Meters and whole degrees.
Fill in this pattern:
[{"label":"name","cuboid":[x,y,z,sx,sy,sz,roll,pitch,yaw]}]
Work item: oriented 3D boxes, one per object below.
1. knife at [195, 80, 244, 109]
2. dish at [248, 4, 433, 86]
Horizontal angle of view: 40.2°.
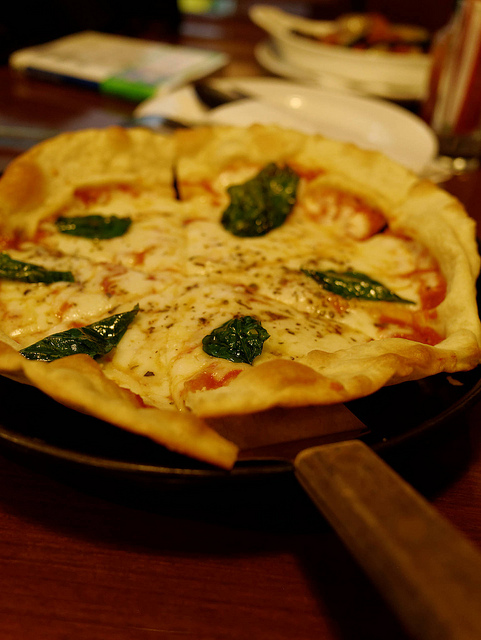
[{"label":"knife","cuboid":[-0.083,-0.739,2.157,0.252,0.061,0.033,18,15,29]},{"label":"dish","cuboid":[0.353,-1.059,2.439,0.890,0.129,0.606,11,35,8]}]
